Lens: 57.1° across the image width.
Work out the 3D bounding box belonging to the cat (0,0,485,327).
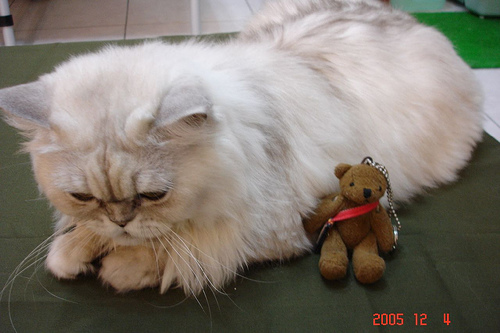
[{"bbox_3d":[0.121,-0.196,1.816,1.696,0.708,1.190,-29,39,-19],"label":"cat"}]

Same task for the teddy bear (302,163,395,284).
[{"bbox_3d":[0.380,0.197,1.735,0.366,0.419,0.288,7,30,10],"label":"teddy bear"}]
